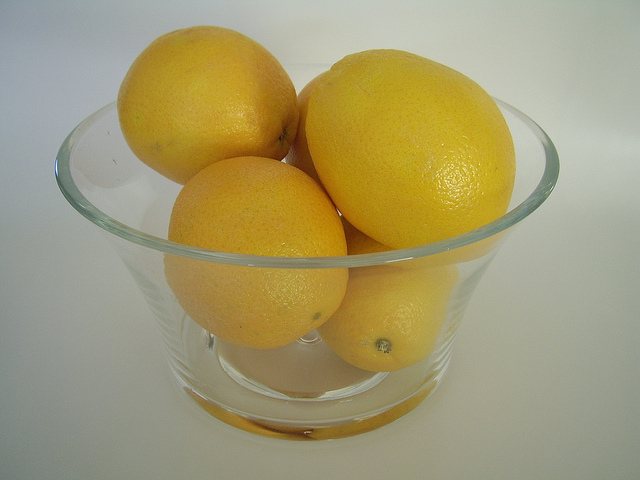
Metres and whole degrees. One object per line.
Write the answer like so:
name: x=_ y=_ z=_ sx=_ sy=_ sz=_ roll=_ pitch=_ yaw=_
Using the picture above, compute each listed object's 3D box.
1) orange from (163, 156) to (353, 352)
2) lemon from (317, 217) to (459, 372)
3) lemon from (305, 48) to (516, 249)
orange: x=-0.081 y=0.040 z=0.878 sx=0.249 sy=0.310 sz=0.221 roll=12 pitch=60 yaw=2
lemon: x=0.124 y=0.066 z=0.880 sx=0.179 sy=0.242 sz=0.179 roll=-12 pitch=21 yaw=-37
lemon: x=0.115 y=-0.115 z=0.897 sx=0.284 sy=0.214 sz=0.217 roll=40 pitch=101 yaw=-4
